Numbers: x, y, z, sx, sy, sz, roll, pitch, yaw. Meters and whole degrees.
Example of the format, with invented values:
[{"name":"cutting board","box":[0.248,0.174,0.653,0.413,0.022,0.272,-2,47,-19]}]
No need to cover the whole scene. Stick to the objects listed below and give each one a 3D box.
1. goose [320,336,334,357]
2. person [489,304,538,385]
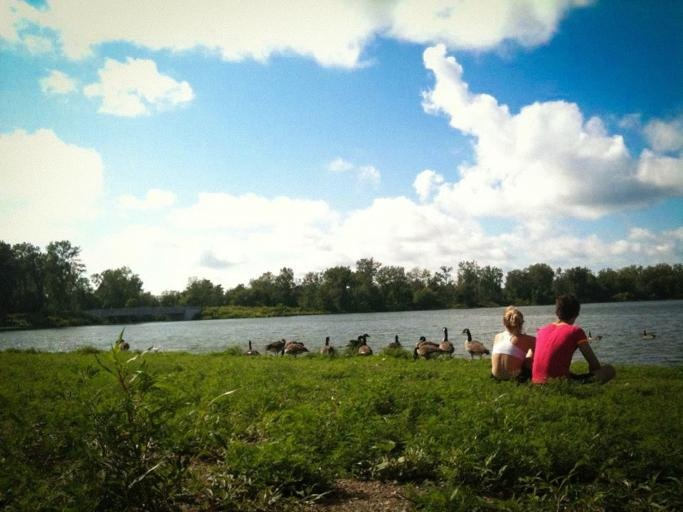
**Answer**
[{"name":"goose","box":[-0.796,4.787,32.879,0.592,1.186,2.059,5,-3,-3]},{"name":"person","box":[4.321,2.245,15.968,1.009,1.829,0.647,2,-3,17]}]
